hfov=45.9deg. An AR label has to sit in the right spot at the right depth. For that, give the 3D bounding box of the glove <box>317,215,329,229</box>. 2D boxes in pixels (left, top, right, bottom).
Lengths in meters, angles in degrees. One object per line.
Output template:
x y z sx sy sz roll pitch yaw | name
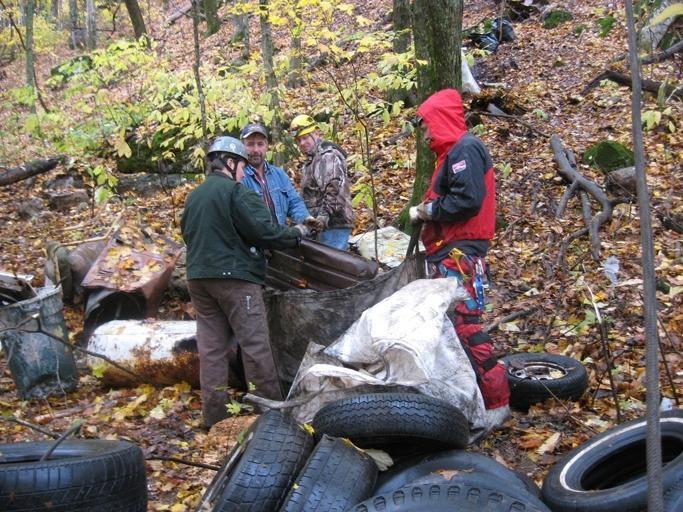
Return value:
-0.235 -0.415 9.712 0.191 0.098 0.245 0 5 -3 | glove

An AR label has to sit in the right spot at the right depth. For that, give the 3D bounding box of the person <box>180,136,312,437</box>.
-1.158 0.282 8.921 1.098 3.163 0.573 -7 10 -5 | person

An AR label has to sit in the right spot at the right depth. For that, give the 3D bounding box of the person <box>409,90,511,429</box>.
1.294 -0.019 8.520 0.832 3.493 1.052 -10 10 -20 | person

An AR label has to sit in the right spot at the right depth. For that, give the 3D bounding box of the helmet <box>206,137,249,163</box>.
-1.262 -1.201 8.993 0.369 0.173 0.267 25 -9 -32 | helmet

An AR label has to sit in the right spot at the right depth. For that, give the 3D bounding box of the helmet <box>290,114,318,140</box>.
-0.485 -1.649 10.302 0.336 0.243 0.266 -39 23 -23 | helmet

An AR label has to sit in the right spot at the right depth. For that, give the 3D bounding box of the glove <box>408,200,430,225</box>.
0.823 -0.470 8.582 0.178 0.078 0.229 6 -24 -13 | glove
